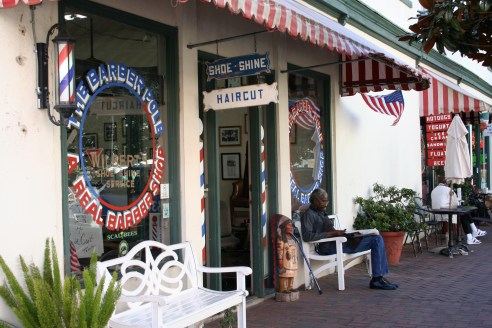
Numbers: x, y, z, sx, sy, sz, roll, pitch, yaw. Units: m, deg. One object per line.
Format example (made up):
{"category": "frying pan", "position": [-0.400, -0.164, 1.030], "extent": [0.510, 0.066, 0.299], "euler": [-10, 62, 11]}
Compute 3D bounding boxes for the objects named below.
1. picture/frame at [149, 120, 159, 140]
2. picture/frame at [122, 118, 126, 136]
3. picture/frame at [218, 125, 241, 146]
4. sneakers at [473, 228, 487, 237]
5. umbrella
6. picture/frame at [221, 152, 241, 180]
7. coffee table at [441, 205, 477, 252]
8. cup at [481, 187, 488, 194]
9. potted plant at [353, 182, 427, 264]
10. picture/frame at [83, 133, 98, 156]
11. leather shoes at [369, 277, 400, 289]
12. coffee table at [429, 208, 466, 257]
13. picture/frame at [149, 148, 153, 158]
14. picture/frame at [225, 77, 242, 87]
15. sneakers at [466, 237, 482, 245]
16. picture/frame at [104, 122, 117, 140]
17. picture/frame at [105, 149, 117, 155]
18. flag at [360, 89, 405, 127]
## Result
{"category": "picture/frame", "position": [-1.249, -0.442, 6.705], "extent": [0.043, 0.192, 0.191], "euler": [-3, 29, 16]}
{"category": "picture/frame", "position": [-1.555, -0.473, 6.346], "extent": [0.021, 0.223, 0.070], "euler": [-5, -2, 28]}
{"category": "picture/frame", "position": [-0.349, -0.665, 11.367], "extent": [0.525, 0.508, 0.045], "euler": [0, 0, 16]}
{"category": "sneakers", "position": [6.572, 1.953, 13.944], "extent": [0.189, 0.266, 0.583], "euler": [5, 9, 42]}
{"category": "umbrella", "position": [5.006, -0.340, 11.798], "extent": [0.561, 2.007, 0.449], "euler": [-4, -2, 23]}
{"category": "picture/frame", "position": [-0.317, 0.073, 11.384], "extent": [0.537, 0.800, 0.056], "euler": [-1, -11, 10]}
{"category": "coffee table", "position": [4.992, 1.631, 11.826], "extent": [1.107, 1.198, 1.010], "euler": [-2, -3, 37]}
{"category": "cup", "position": [10.858, 1.223, 22.544], "extent": [0.243, 0.264, 0.258], "euler": [1, 3, 0]}
{"category": "potted plant", "position": [3.120, 1.280, 10.919], "extent": [1.227, 1.585, 1.324], "euler": [4, -4, 22]}
{"category": "picture/frame", "position": [-1.881, -0.235, 5.971], "extent": [0.124, 0.255, 0.246], "euler": [2, 5, 31]}
{"category": "leather shoes", "position": [2.399, 2.068, 8.579], "extent": [0.504, 0.242, 0.209], "euler": [-1, 0, 8]}
{"category": "coffee table", "position": [4.728, 1.591, 11.438], "extent": [0.751, 0.985, 0.790], "euler": [-6, -6, 40]}
{"category": "picture/frame", "position": [-1.278, -0.140, 6.658], "extent": [0.016, 0.095, 0.092], "euler": [-5, -2, 29]}
{"category": "picture/frame", "position": [-0.165, -1.336, 8.115], "extent": [0.126, 0.128, 0.337], "euler": [-6, -2, 43]}
{"category": "sneakers", "position": [5.855, 1.987, 12.710], "extent": [0.460, 0.195, 0.182], "euler": [-2, 5, -35]}
{"category": "picture/frame", "position": [-1.694, -0.407, 6.183], "extent": [0.024, 0.256, 0.208], "euler": [3, 3, 35]}
{"category": "picture/frame", "position": [-1.683, -0.149, 6.193], "extent": [0.111, 0.060, 0.069], "euler": [-1, -2, -36]}
{"category": "flag", "position": [3.152, -1.299, 11.314], "extent": [1.439, 0.755, 0.392], "euler": [-3, -2, -41]}
